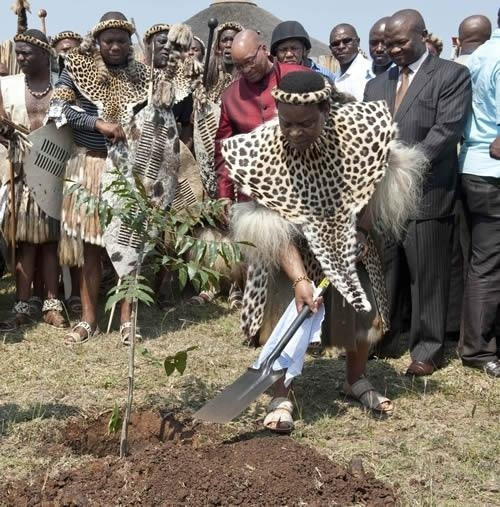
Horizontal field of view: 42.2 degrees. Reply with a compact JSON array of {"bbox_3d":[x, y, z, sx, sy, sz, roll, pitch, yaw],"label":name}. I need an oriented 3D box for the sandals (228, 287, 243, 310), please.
[{"bbox_3d":[-0.130,0.374,5.519,0.105,0.196,0.068,1,-22,9],"label":"sandals"}]

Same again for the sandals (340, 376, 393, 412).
[{"bbox_3d":[0.648,0.777,3.609,0.108,0.112,0.289,-26,20,-23],"label":"sandals"}]

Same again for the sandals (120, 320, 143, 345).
[{"bbox_3d":[-0.853,0.533,4.617,0.194,0.197,0.552,-1,0,-10],"label":"sandals"}]

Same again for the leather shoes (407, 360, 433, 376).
[{"bbox_3d":[1.087,0.722,4.108,0.180,0.078,0.139,4,12,15],"label":"leather shoes"}]

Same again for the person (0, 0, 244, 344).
[{"bbox_3d":[-0.870,-0.531,4.695,0.984,2.230,1.087,8,13,34],"label":"person"}]

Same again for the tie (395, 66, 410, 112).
[{"bbox_3d":[0.977,-1.048,4.152,0.058,0.347,0.049,5,-9,29],"label":"tie"}]

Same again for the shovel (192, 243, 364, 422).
[{"bbox_3d":[0.172,0.449,3.432,0.223,1.099,0.079,41,-7,6],"label":"shovel"}]

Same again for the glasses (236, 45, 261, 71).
[{"bbox_3d":[-0.010,-1.053,3.588,0.137,0.143,0.138,-11,4,14],"label":"glasses"}]
